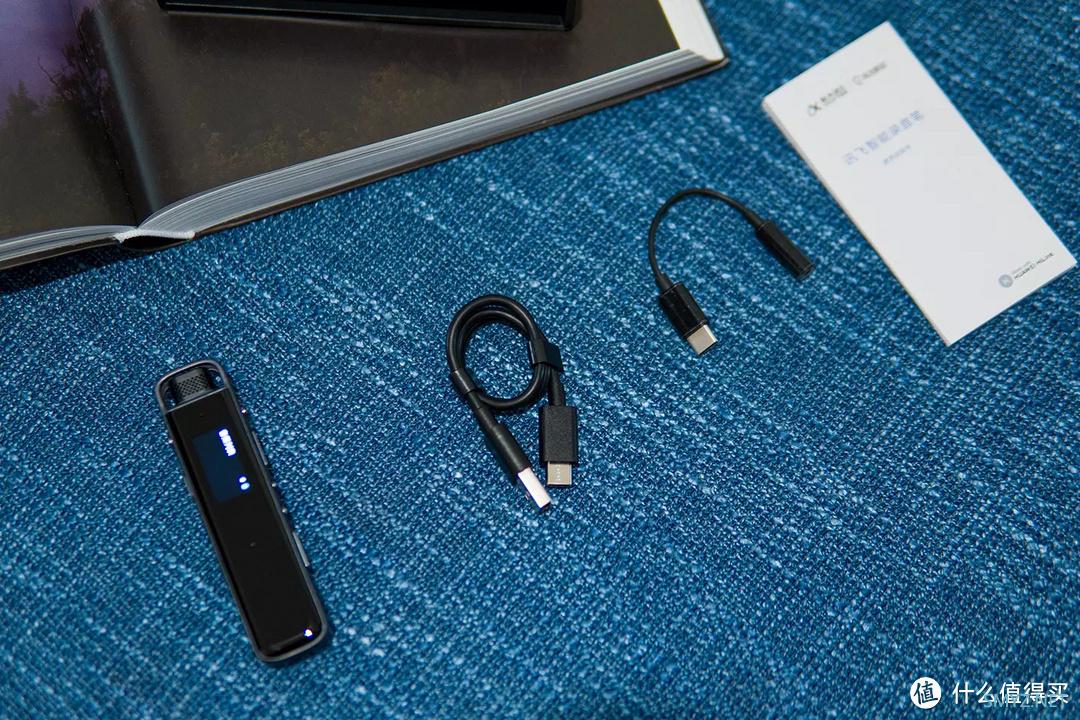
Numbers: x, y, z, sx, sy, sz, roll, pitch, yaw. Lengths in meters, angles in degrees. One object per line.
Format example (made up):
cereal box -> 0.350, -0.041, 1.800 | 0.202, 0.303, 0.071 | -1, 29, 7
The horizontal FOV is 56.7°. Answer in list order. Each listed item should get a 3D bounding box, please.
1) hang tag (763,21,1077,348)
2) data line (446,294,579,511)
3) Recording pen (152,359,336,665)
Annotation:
hang tag -> 0.311, -0.143, 0.826 | 0.185, 0.275, 0.028 | -22, 0, -5
data line -> -0.020, 0.027, 0.786 | 0.093, 0.175, 0.029 | -21, -4, -10
Recording pen -> -0.231, 0.122, 0.827 | 0.085, 0.277, 0.053 | -22, -2, -5
